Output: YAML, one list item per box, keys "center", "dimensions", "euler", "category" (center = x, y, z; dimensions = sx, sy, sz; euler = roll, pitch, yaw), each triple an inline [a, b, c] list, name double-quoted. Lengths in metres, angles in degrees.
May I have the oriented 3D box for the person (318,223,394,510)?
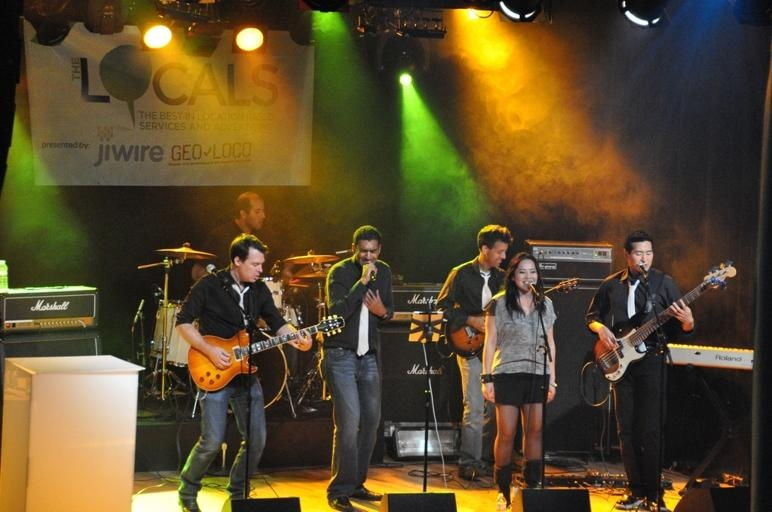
- center: [-0.276, 1.146, 7.571]
  dimensions: [0.717, 2.843, 0.538]
  euler: [2, -4, -19]
  category: "person"

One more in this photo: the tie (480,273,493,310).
- center: [1.163, 0.402, 8.611]
  dimensions: [0.085, 0.358, 0.254]
  euler: [3, -2, 15]
  category: "tie"

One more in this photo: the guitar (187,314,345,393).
- center: [-1.265, 1.006, 7.609]
  dimensions: [1.028, 0.373, 0.114]
  euler: [-18, 0, -14]
  category: "guitar"

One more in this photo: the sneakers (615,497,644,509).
- center: [2.482, 2.532, 7.614]
  dimensions: [0.285, 0.132, 0.107]
  euler: [1, -5, 1]
  category: "sneakers"

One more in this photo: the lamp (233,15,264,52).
- center: [-1.671, -2.666, 9.089]
  dimensions: [0.367, 0.283, 0.320]
  euler: [1, -4, -10]
  category: "lamp"

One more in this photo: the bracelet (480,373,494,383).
- center: [1.010, 1.234, 7.451]
  dimensions: [0.089, 0.057, 0.088]
  euler: [3, -5, -27]
  category: "bracelet"

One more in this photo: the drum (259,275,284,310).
- center: [-1.336, 0.456, 8.986]
  dimensions: [0.346, 0.353, 0.356]
  euler: [-5, 0, 24]
  category: "drum"

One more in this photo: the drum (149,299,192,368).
- center: [-2.541, 0.958, 9.102]
  dimensions: [0.730, 0.728, 0.725]
  euler: [2, 3, -19]
  category: "drum"

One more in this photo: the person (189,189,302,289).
- center: [-1.896, -0.354, 9.976]
  dimensions: [0.659, 1.111, 1.263]
  euler: [11, 36, 12]
  category: "person"

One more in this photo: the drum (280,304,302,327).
- center: [-1.141, 0.737, 9.004]
  dimensions: [0.170, 0.285, 0.284]
  euler: [-6, -22, 27]
  category: "drum"

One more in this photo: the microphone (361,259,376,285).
- center: [-0.181, 0.183, 7.474]
  dimensions: [0.168, 0.219, 0.064]
  euler: [0, 4, -22]
  category: "microphone"

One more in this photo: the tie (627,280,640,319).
- center: [2.555, 0.470, 7.694]
  dimensions: [0.039, 0.360, 0.140]
  euler: [4, -6, -38]
  category: "tie"

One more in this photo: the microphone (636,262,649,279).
- center: [2.594, 0.162, 7.509]
  dimensions: [0.077, 0.112, 0.200]
  euler: [-2, -10, 4]
  category: "microphone"

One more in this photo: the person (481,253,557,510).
- center: [1.327, 1.276, 7.443]
  dimensions: [0.712, 2.601, 0.449]
  euler: [0, -4, 10]
  category: "person"

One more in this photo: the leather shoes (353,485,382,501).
- center: [-0.208, 2.487, 7.766]
  dimensions: [0.375, 0.152, 0.128]
  euler: [-1, 0, 5]
  category: "leather shoes"

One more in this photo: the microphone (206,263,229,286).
- center: [-1.703, 0.202, 7.487]
  dimensions: [0.075, 0.103, 0.268]
  euler: [-24, 34, -10]
  category: "microphone"
